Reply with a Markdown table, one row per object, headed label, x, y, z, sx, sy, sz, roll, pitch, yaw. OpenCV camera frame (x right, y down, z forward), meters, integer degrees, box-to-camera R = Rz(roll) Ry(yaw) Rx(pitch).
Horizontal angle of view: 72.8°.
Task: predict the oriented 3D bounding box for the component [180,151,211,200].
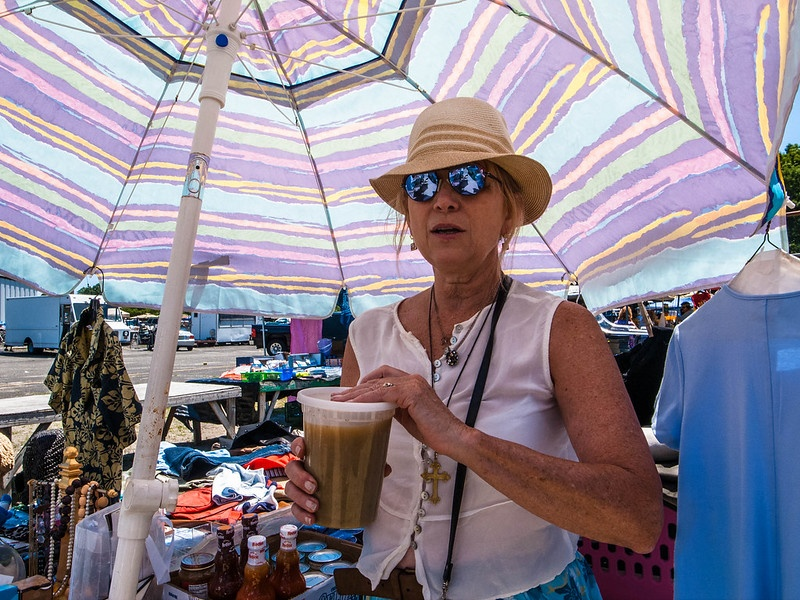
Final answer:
| label | x | y | z | sx | sy | sz | roll | pitch | yaw |
| --- | --- | --- | --- | --- | --- | --- | --- | --- | --- |
| component | -0.736 | -0.447 | 1.962 | 0.082 | 0.164 | 0.056 | 3 | -12 | -23 |

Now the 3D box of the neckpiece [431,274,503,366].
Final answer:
| label | x | y | z | sx | sy | sz | roll | pitch | yaw |
| --- | --- | --- | --- | --- | --- | --- | --- | --- | --- |
| neckpiece | 0.259 | 0.100 | 2.215 | 0.236 | 0.405 | 0.211 | 3 | -9 | 12 |

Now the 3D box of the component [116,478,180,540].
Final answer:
| label | x | y | z | sx | sy | sz | roll | pitch | yaw |
| --- | --- | --- | --- | --- | --- | --- | --- | --- | --- |
| component | -0.824 | 0.683 | 1.782 | 0.178 | 0.194 | 0.106 | 2 | -12 | -19 |

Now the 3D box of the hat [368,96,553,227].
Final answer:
| label | x | y | z | sx | sy | sz | roll | pitch | yaw |
| --- | --- | --- | --- | --- | --- | --- | --- | --- | --- |
| hat | 0.315 | -0.440 | 2.119 | 0.526 | 0.319 | 0.579 | -13 | -30 | 29 |

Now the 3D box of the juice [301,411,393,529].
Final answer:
| label | x | y | z | sx | sy | sz | roll | pitch | yaw |
| --- | --- | --- | --- | --- | --- | --- | --- | --- | --- |
| juice | -0.151 | 0.579 | 1.986 | 0.365 | 0.410 | 0.369 | -5 | -8 | 41 |

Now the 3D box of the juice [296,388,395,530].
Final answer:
| label | x | y | z | sx | sy | sz | roll | pitch | yaw |
| --- | --- | --- | --- | --- | --- | --- | --- | --- | --- |
| juice | -0.161 | 0.535 | 1.951 | 0.410 | 0.460 | 0.421 | 1 | -8 | 5 |
